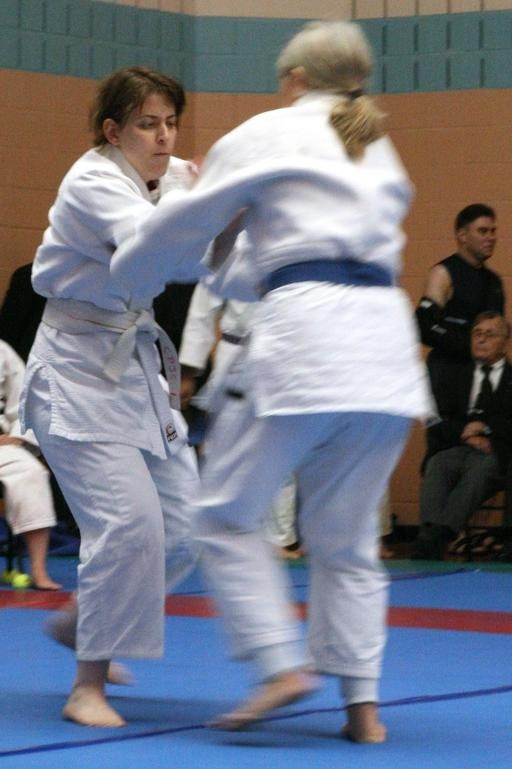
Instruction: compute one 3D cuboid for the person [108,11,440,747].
[{"bbox_3d":[0.046,-0.008,1.868,0.592,1.471,0.373,6,8,9],"label":"person"}]
